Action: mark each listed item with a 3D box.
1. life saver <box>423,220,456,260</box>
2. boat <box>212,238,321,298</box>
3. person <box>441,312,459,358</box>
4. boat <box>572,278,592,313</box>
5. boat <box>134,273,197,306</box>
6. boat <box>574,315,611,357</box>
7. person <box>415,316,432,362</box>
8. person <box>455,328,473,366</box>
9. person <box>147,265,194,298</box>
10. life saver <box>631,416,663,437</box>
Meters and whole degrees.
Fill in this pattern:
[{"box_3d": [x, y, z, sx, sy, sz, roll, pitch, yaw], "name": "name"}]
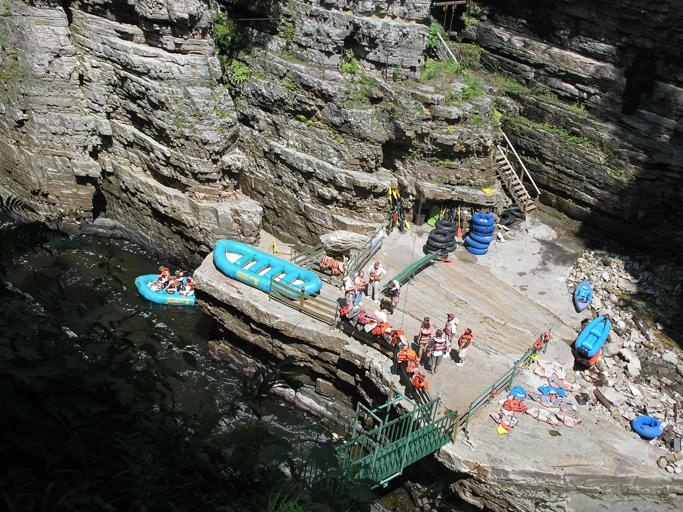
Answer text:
[{"box_3d": [3.370, -0.631, 21.594, 0.882, 0.532, 1.337, 0, 36, 4], "name": "life saver"}, {"box_3d": [-2.444, 0.365, 20.671, 3.641, 0.600, 1.634, 26, 35, 14], "name": "boat"}, {"box_3d": [2.971, 2.206, 17.647, 0.331, 1.097, 0.597, 9, 49, 4], "name": "person"}, {"box_3d": [7.551, 1.235, 20.086, 0.492, 0.251, 1.506, 17, 40, 16], "name": "boat"}, {"box_3d": [-6.246, 1.320, 22.663, 2.019, 0.424, 1.209, 10, 40, -13], "name": "boat"}, {"box_3d": [7.333, 2.224, 18.554, 0.656, 0.362, 1.706, 29, 52, 26], "name": "boat"}, {"box_3d": [2.190, 2.207, 17.170, 0.420, 1.278, 0.387, 4, 27, -9], "name": "person"}, {"box_3d": [3.385, 2.531, 17.714, 0.346, 1.069, 0.495, 37, 61, 23], "name": "person"}, {"box_3d": [-6.048, 0.911, 22.943, 1.635, 0.807, 1.125, 10, 42, 8], "name": "person"}, {"box_3d": [7.773, 4.302, 16.388, 0.539, 0.208, 0.536, -7, 18, -17], "name": "life saver"}]
